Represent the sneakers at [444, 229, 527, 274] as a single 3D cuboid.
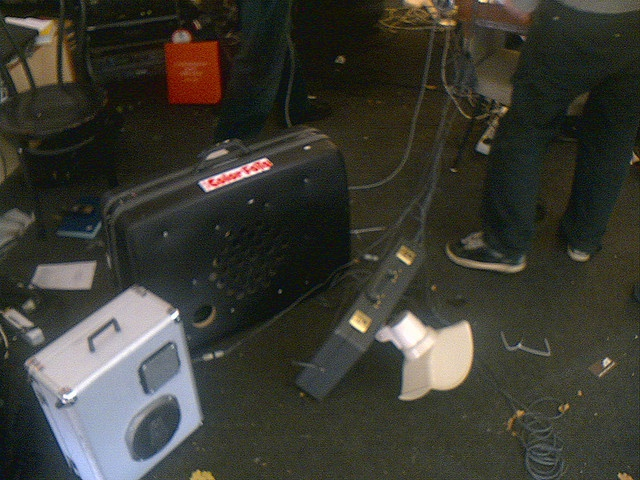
[{"bbox_3d":[0.579,0.052,1.991,0.367,0.130,0.103,9,63,10],"label":"sneakers"}]
